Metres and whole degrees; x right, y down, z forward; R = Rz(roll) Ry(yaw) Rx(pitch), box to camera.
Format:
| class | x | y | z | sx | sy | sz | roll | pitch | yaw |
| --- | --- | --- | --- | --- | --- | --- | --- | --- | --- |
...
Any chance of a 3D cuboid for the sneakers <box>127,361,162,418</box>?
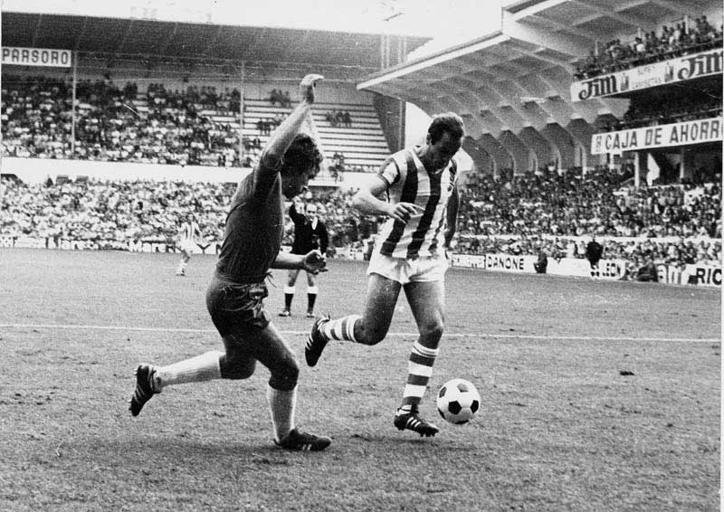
| class | x | y | z | sx | sy | sz | roll | pitch | yaw |
| --- | --- | --- | --- | --- | --- | --- | --- | --- | --- |
| sneakers | -2.116 | 1.311 | 8.905 | 0.269 | 0.721 | 0.226 | 8 | 8 | 15 |

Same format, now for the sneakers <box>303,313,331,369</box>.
| class | x | y | z | sx | sy | sz | roll | pitch | yaw |
| --- | --- | --- | --- | --- | --- | --- | --- | --- | --- |
| sneakers | -0.461 | 1.018 | 10.153 | 0.212 | 0.684 | 0.271 | -1 | 21 | -42 |

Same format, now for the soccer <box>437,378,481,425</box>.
| class | x | y | z | sx | sy | sz | roll | pitch | yaw |
| --- | --- | --- | --- | --- | --- | --- | --- | --- | --- |
| soccer | 0.982 | 1.526 | 9.395 | 0.399 | 0.463 | 0.415 | 8 | 16 | -5 |

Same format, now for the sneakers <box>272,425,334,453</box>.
| class | x | y | z | sx | sy | sz | roll | pitch | yaw |
| --- | --- | --- | --- | --- | --- | --- | --- | --- | --- |
| sneakers | -0.564 | 1.777 | 8.732 | 0.548 | 0.274 | 0.214 | -1 | -1 | 0 |
